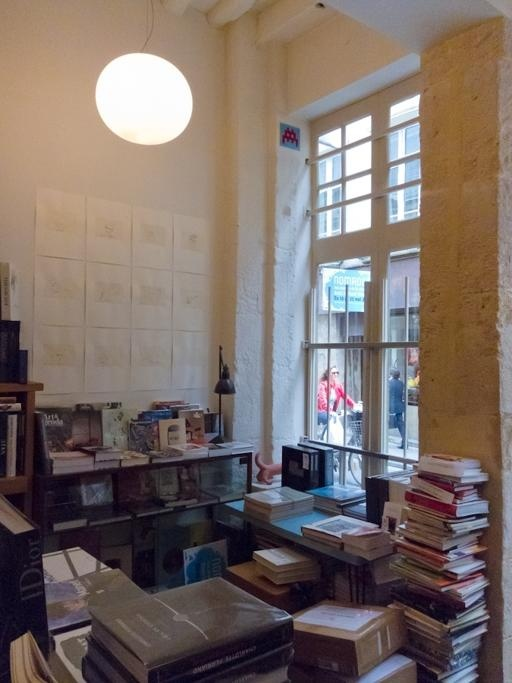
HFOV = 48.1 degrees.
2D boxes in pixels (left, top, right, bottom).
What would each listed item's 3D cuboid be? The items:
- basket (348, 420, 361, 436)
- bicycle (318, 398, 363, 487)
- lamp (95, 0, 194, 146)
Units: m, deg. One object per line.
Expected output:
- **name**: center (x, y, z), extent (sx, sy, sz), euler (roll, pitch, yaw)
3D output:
- **basket**: center (0.637, 0.561, 3.668), extent (0.064, 0.056, 0.075), euler (1, 4, 17)
- **bicycle**: center (0.589, 0.683, 3.790), extent (0.117, 0.485, 0.329), euler (3, 1, -23)
- **lamp**: center (-0.440, -0.962, 2.286), extent (0.352, 0.294, 0.245), euler (2, -3, -35)
